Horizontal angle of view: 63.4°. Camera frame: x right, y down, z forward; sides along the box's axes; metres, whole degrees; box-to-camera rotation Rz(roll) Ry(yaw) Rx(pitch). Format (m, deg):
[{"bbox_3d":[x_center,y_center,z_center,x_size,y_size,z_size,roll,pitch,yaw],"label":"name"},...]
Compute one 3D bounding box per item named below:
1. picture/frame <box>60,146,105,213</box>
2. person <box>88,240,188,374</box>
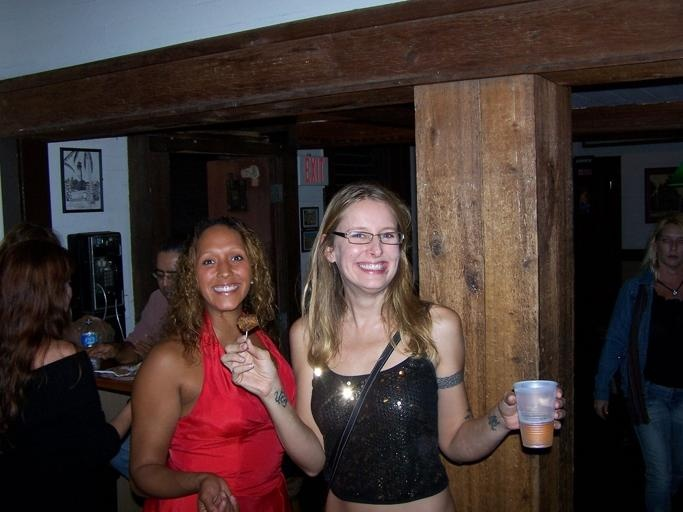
[{"bbox_3d":[-2.357,-0.697,4.976,0.050,0.692,0.627,0,3,26],"label":"picture/frame"},{"bbox_3d":[-1.353,0.390,4.133,0.624,0.920,0.879,-3,-4,24],"label":"person"}]
